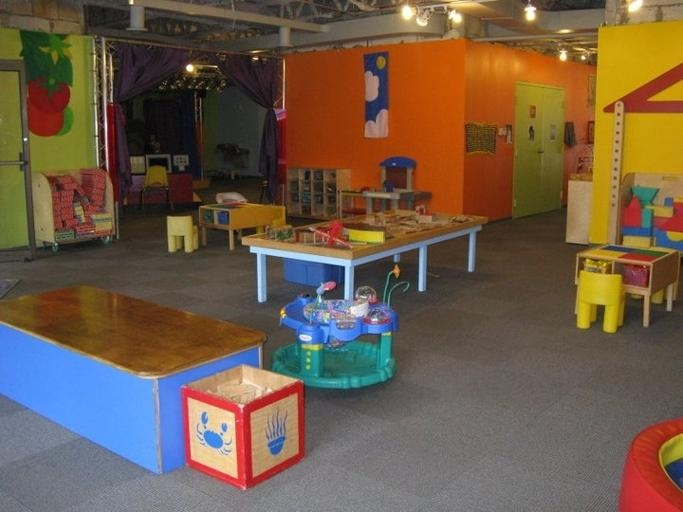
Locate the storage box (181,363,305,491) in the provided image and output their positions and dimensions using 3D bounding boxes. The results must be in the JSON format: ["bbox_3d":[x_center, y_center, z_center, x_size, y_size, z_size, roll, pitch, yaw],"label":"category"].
[{"bbox_3d":[-0.580,0.923,3.227,0.589,0.546,0.611,6,9,37],"label":"storage box"}]

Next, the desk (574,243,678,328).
[{"bbox_3d":[3.061,0.114,5.902,0.950,0.758,0.932,9,20,33],"label":"desk"}]

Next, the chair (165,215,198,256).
[{"bbox_3d":[-2.583,-0.392,9.052,0.458,0.572,0.513,3,10,12],"label":"chair"}]

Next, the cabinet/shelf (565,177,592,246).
[{"bbox_3d":[4.005,-0.740,9.385,0.455,1.061,0.349,9,16,35],"label":"cabinet/shelf"}]

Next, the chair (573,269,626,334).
[{"bbox_3d":[2.613,0.396,5.560,0.442,0.561,0.401,-21,19,-39],"label":"chair"}]

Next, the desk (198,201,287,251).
[{"bbox_3d":[-1.812,-0.524,9.545,1.160,0.573,1.220,-1,9,-12],"label":"desk"}]

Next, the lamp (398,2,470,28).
[{"bbox_3d":[1.836,-5.000,11.437,1.282,0.412,1.339,4,9,11],"label":"lamp"}]

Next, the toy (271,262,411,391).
[{"bbox_3d":[-0.042,0.572,4.277,0.976,0.818,0.582,-2,14,-7],"label":"toy"}]

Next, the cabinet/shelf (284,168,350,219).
[{"bbox_3d":[-0.538,-1.369,12.054,1.315,1.102,0.429,8,13,31],"label":"cabinet/shelf"}]

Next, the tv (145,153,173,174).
[{"bbox_3d":[-4.758,-2.421,14.509,0.334,0.601,0.678,4,9,35],"label":"tv"}]
